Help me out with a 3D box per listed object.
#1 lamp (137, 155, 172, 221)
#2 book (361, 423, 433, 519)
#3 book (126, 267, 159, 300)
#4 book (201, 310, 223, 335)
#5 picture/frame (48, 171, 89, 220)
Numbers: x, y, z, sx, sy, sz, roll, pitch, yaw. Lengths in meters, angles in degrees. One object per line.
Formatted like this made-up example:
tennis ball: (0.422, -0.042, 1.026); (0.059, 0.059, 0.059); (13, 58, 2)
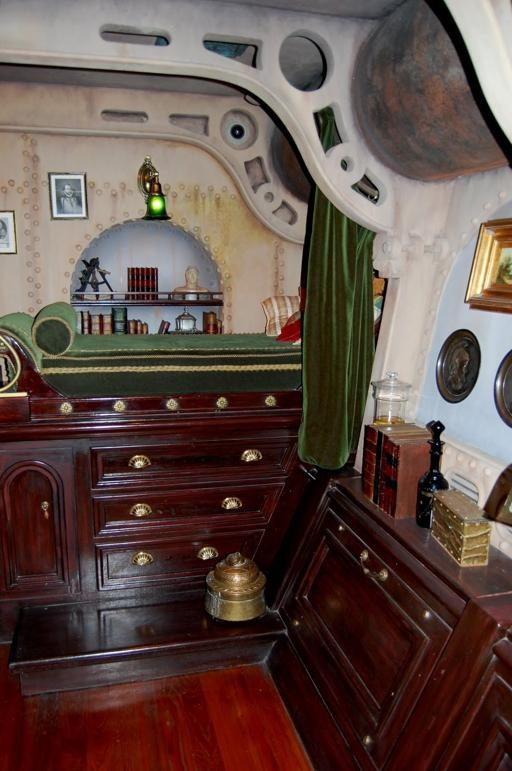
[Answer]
lamp: (-0.683, -1.314, 3.535); (0.182, 0.466, 0.348); (0, 4, -12)
book: (0.479, 0.279, 1.956); (0.273, 0.349, 0.363); (3, 11, 13)
book: (-1.012, -0.919, 4.818); (0.291, 0.401, 0.297); (-1, 10, -11)
book: (-0.415, -0.578, 4.863); (0.240, 0.275, 0.274); (0, -3, -9)
picture/frame: (-1.553, -1.582, 4.368); (0.386, 0.460, 0.033); (-3, 20, -15)
